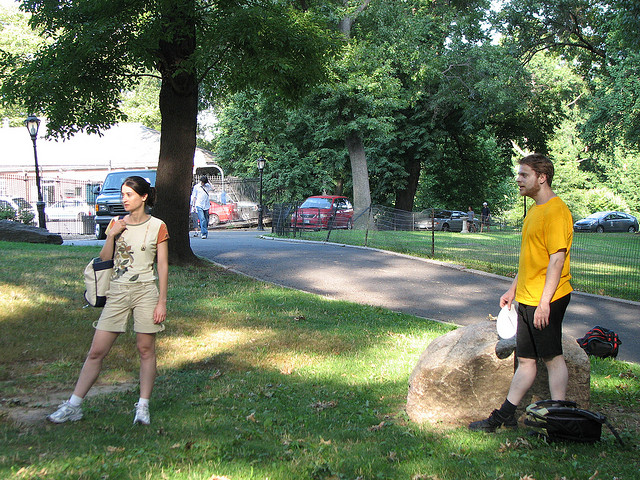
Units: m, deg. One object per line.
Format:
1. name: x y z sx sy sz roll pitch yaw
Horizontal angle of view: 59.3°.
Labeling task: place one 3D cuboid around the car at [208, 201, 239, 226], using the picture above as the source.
1. car: -6.153 -1.828 36.021 1.508 1.445 2.272 -1 -3 -11

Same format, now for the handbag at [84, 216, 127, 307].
1. handbag: -2.384 0.271 5.949 0.369 0.932 0.704 7 4 2

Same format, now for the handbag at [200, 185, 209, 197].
1. handbag: -4.658 -1.996 22.726 0.065 0.089 0.674 48 -8 34

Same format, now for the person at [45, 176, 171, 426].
1. person: -2.076 0.600 5.842 0.965 2.515 0.527 -1 4 -18

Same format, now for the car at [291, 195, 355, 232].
1. car: 0.267 -1.492 29.853 1.618 1.573 3.137 -2 -4 30

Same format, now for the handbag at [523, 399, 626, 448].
1. handbag: 2.354 1.714 5.420 0.562 0.268 0.475 1 -3 5

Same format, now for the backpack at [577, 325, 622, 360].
1. backpack: 4.335 1.555 8.745 0.561 0.419 0.748 -13 6 -40

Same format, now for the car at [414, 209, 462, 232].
1. car: 7.411 -1.223 35.371 2.213 1.415 6.722 2 4 22

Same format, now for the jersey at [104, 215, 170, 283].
1. jersey: -1.986 0.113 6.041 0.735 0.776 0.425 2 2 -3

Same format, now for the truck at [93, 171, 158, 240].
1. truck: -7.619 -1.798 21.727 2.617 1.444 1.546 -23 -4 39

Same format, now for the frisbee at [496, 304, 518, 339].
1. frisbee: 1.941 0.864 5.806 0.206 0.355 0.245 2 4 30

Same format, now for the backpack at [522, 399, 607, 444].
1. backpack: 2.343 1.720 5.363 0.513 0.240 0.482 4 -2 5
